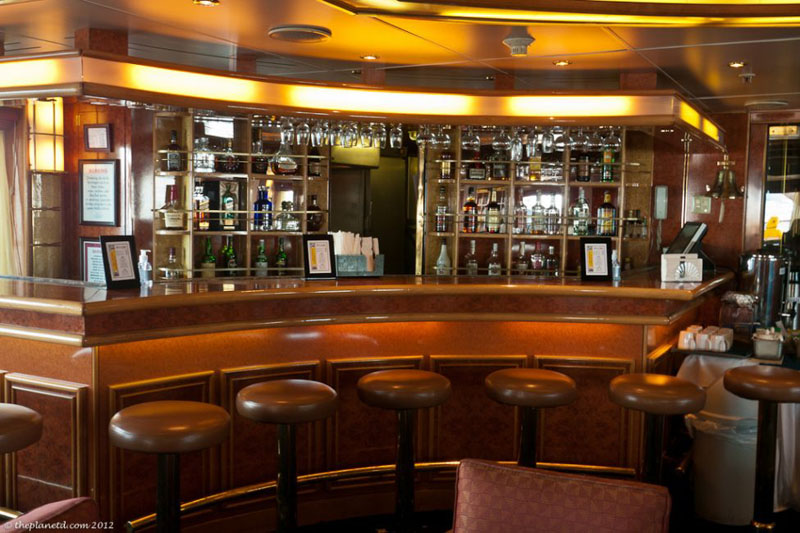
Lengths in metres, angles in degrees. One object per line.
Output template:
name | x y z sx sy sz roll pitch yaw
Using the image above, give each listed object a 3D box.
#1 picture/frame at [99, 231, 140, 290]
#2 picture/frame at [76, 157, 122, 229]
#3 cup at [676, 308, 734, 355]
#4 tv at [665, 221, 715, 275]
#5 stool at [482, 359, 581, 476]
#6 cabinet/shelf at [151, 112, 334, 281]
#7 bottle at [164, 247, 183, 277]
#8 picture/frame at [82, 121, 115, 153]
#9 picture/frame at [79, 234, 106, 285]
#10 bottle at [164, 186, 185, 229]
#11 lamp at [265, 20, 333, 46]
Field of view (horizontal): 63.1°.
picture/frame | -1.862 -0.026 4.366 0.214 0.350 0.220 -4 7 -18
picture/frame | -3.068 -0.749 6.707 0.865 0.827 0.071 4 5 25
cup | 2.561 0.607 5.506 0.426 0.167 0.471 1 7 22
tv | 2.948 -0.176 6.597 0.512 0.544 0.618 4 5 8
stool | 0.825 0.967 4.448 0.749 0.644 0.668 2 5 13
cabinet/shelf | -1.634 -0.676 6.391 1.932 1.522 0.525 2 -1 -35
bottle | -2.232 -0.021 6.431 0.172 0.307 0.367 -4 7 -17
picture/frame | -3.013 -1.282 6.560 0.429 0.262 0.061 6 9 28
picture/frame | -2.998 -0.072 6.384 0.524 0.498 0.044 8 14 36
bottle | -2.206 -0.569 6.380 0.211 0.430 0.366 -4 7 -19
lamp | -0.786 -1.822 5.157 0.493 0.073 0.316 -1 6 2
